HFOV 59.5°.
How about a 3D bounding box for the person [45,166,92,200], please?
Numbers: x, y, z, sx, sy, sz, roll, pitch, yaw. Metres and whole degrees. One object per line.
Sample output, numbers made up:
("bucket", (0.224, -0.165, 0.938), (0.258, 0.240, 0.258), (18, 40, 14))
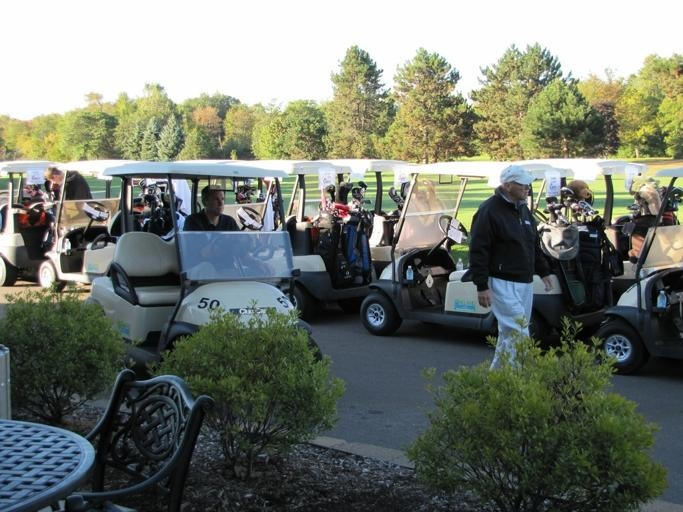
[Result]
("person", (-5.147, -1.336, 11.265), (0.790, 0.601, 1.761), (1, 3, -29))

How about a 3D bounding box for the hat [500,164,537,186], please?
("hat", (1.463, -0.656, 5.009), (0.224, 0.132, 0.185), (-3, 17, 12))

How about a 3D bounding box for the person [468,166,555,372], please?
("person", (1.386, -0.009, 5.026), (0.691, 1.462, 0.346), (0, 2, -28))

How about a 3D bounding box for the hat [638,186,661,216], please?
("hat", (4.391, -0.764, 8.496), (0.327, 0.555, 0.133), (2, -10, -41))

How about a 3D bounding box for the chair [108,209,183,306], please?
("chair", (-1.883, -0.001, 5.957), (0.768, 0.831, 0.776), (0, 3, -31))
